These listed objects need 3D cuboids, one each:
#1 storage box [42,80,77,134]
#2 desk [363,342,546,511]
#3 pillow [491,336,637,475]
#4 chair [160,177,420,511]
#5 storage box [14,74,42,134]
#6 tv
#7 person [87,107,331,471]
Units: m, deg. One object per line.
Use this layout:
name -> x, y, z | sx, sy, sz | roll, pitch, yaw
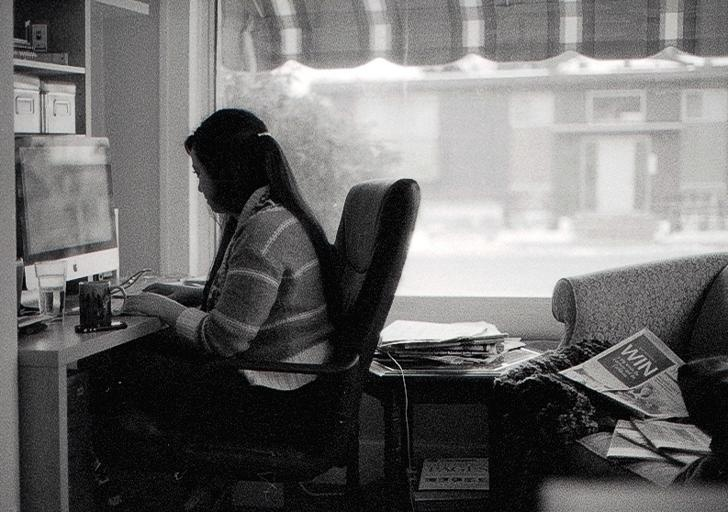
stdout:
storage box -> -1.128, -0.534, 2.661 | 0.098, 0.174, 0.178 | 8, 12, 19
desk -> 0.304, 0.583, 2.801 | 0.624, 0.614, 0.617 | 0, -1, -1
pillow -> 0.539, 0.470, 2.245 | 0.313, 0.147, 0.415 | -7, 26, 0
chair -> -0.122, 0.256, 2.480 | 0.966, 1.144, 0.826 | 4, -5, -12
storage box -> -1.167, -0.529, 2.555 | 0.083, 0.204, 0.130 | -3, 5, -23
tv -> -0.959, -0.138, 2.354 | 0.208, 0.542, 0.583 | -1, 0, 9
person -> -0.430, 0.055, 2.386 | 0.771, 0.953, 0.630 | 5, 10, 18
